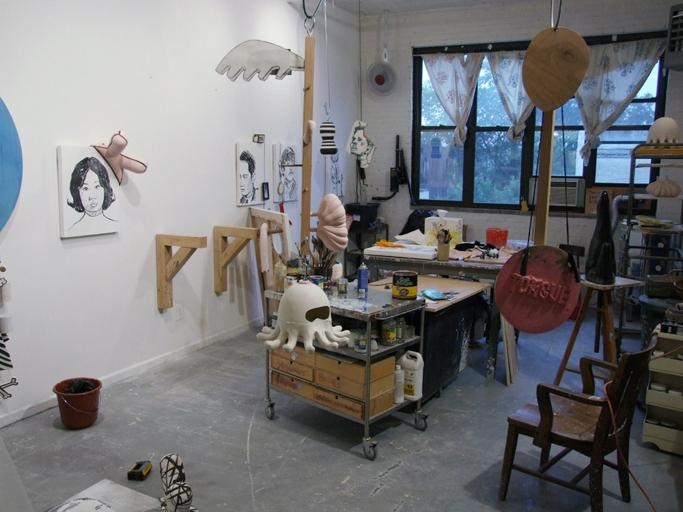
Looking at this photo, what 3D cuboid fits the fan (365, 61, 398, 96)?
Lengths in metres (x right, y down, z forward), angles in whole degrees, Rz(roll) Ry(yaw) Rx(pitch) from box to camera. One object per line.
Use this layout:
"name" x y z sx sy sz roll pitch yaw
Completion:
"fan" 0.656 -2.894 8.808 0.448 0.509 0.265 0 12 4

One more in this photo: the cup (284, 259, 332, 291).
"cup" -0.272 0.143 4.531 0.318 0.344 0.202 -3 8 -5

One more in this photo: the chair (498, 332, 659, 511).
"chair" 1.781 1.020 4.198 1.073 1.652 1.070 5 8 40

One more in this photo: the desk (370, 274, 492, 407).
"desk" 0.822 0.700 5.436 1.002 1.255 1.356 4 8 34

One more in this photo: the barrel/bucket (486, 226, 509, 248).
"barrel/bucket" 1.807 -0.220 6.354 0.265 0.317 0.264 1 2 0

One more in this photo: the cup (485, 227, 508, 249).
"cup" 1.802 -0.226 6.342 0.255 0.311 0.269 -1 4 0

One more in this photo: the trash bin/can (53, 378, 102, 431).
"trash bin/can" -2.251 1.210 4.629 0.365 0.340 0.388 1 6 -20

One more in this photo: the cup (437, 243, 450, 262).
"cup" 1.060 -0.040 5.643 0.135 0.173 0.143 -1 7 0

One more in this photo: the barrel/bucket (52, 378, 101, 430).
"barrel/bucket" -2.243 1.202 4.609 0.365 0.342 0.388 2 5 0

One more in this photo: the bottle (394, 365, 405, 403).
"bottle" 0.492 1.057 4.541 0.082 0.306 0.172 2 12 13

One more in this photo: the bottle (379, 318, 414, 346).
"bottle" 0.462 0.613 4.540 0.274 0.310 0.171 -2 10 4

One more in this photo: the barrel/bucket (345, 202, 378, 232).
"barrel/bucket" 0.361 -0.649 8.890 0.588 0.454 0.438 -4 13 -16

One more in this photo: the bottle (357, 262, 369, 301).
"bottle" 0.178 0.199 4.500 0.079 0.277 0.210 -1 12 2
